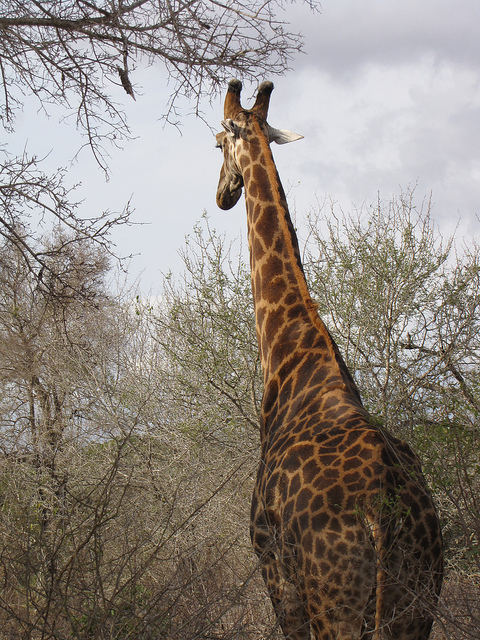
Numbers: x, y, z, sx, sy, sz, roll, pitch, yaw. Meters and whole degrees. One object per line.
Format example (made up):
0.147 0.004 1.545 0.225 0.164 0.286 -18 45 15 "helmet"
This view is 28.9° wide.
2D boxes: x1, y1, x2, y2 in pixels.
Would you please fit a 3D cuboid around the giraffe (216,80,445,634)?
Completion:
0.594 0.139 7.060 1.145 4.152 2.413 1 -9 -11 "giraffe"
